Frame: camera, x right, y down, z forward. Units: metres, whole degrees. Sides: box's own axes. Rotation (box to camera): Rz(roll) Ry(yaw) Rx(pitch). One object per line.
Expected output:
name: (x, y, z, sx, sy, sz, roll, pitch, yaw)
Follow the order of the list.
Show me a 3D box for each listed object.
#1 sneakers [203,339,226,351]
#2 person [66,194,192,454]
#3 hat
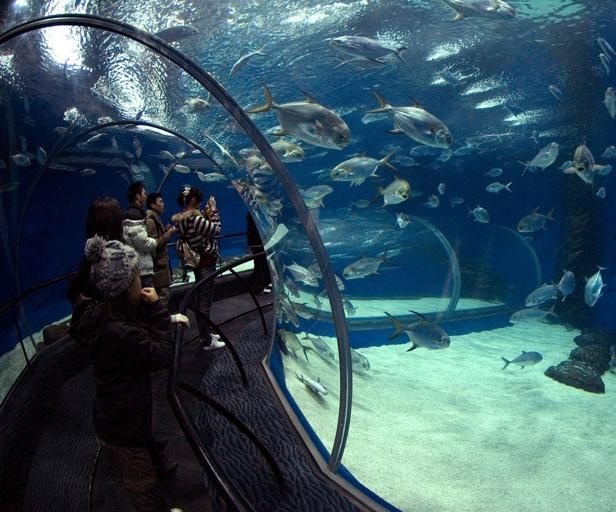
sneakers: (-1.111, 1.055, 4.872, 0.321, 0.114, 0.111, -3, 9, -26)
person: (-0.954, 0.481, 2.145, 0.481, 1.185, 0.293, -11, 11, -24)
hat: (-1.019, 0.051, 2.046, 0.324, 0.306, 0.277, 3, 5, -28)
